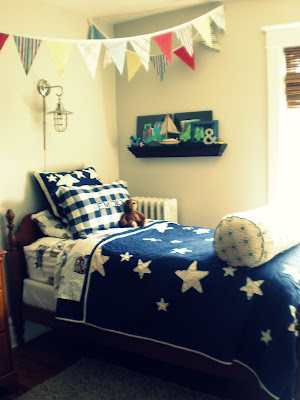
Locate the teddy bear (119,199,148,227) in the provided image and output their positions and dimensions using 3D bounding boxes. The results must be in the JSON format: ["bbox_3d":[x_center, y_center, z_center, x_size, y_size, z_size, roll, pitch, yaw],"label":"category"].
[{"bbox_3d":[-0.104,0.102,2.381,0.174,0.207,0.146,1,0,-19],"label":"teddy bear"}]

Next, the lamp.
[{"bbox_3d":[-0.636,-0.656,2.395,0.230,0.356,0.163,2,4,28],"label":"lamp"}]

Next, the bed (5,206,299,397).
[{"bbox_3d":[-0.058,0.382,1.953,1.385,0.683,0.749,3,8,31],"label":"bed"}]
